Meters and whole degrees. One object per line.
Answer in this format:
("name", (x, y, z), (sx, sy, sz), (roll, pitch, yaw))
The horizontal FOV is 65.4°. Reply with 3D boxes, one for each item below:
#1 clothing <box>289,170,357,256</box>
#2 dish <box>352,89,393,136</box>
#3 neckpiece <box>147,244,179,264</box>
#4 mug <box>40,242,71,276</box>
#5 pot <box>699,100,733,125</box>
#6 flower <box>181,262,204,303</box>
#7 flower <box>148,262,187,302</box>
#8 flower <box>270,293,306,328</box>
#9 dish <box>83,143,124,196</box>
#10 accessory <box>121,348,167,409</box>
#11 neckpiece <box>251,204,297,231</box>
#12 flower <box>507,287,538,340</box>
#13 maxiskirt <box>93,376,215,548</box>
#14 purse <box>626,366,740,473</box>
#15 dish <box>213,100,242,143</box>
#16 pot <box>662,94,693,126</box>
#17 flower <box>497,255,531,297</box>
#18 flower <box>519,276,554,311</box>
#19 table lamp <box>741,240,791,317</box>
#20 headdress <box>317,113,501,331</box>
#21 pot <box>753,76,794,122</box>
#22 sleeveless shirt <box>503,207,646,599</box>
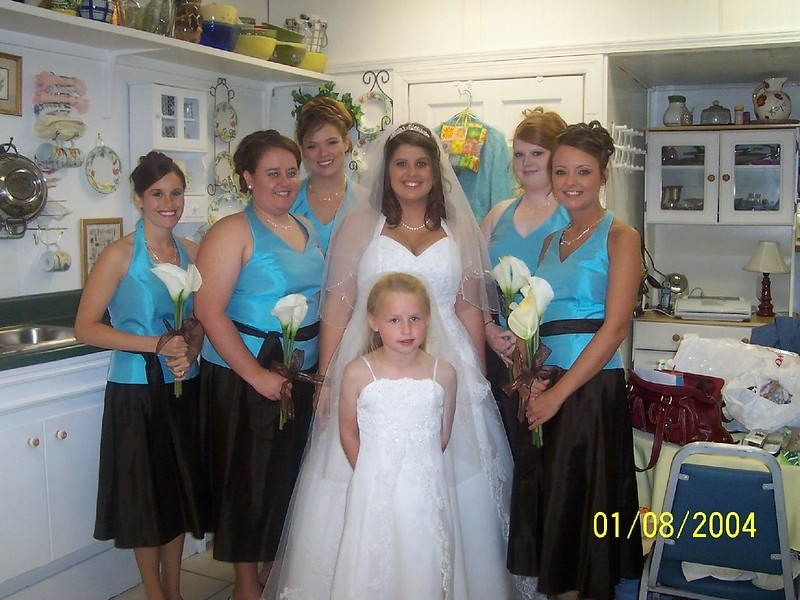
("clothing", (-0.331, -0.359, 2.615), (0.388, 0.401, 0.220), (2, -9, -5))
("dish", (-0.169, -1.263, 4.192), (0.288, 0.310, 0.040), (14, 6, 23))
("neckpiece", (-0.884, -0.183, 2.347), (0.010, 0.076, 0.121), (-18, -8, 33))
("mug", (-1.695, -0.210, 3.057), (0.089, 0.134, 0.124), (8, 11, 41))
("pot", (2.347, -1.400, 4.634), (0.203, 0.222, 0.223), (-1, -4, 30))
("flower", (-0.710, -0.072, 2.177), (0.042, 0.082, 0.093), (17, 17, -2))
("flower", (-0.793, -0.063, 2.149), (0.104, 0.127, 0.055), (0, 9, -9))
("flower", (-0.390, 0.038, 2.205), (0.083, 0.136, 0.134), (-2, -1, 3))
("dish", (-1.541, -0.689, 3.228), (0.036, 0.225, 0.180), (3, 8, 28))
("accessory", (-0.912, 0.303, 2.303), (0.087, 0.218, 0.042), (-3, 9, -23))
("neckpiece", (-0.478, -0.330, 2.387), (0.111, 0.028, 0.092), (34, 13, 24))
("flower", (0.410, 0.050, 2.091), (0.099, 0.183, 0.156), (-6, 15, -3))
("maxiskirt", (-0.937, 0.609, 2.331), (0.398, 0.605, 0.209), (-4, 10, -29))
("purse", (1.068, 0.406, 2.493), (0.403, 0.364, 0.432), (1, -2, -26))
("dish", (-1.113, -1.133, 3.935), (0.048, 0.221, 0.212), (7, -2, 27))
("pot", (2.060, -1.417, 4.633), (0.218, 0.244, 0.239), (0, -4, 0))
("flower", (0.397, -0.086, 2.217), (0.125, 0.138, 0.133), (-6, 19, -22))
("flower", (0.452, -0.025, 2.099), (0.103, 0.107, 0.051), (-22, 12, -33))
("table lamp", (2.723, -0.167, 4.655), (0.276, 0.542, 0.419), (6, 10, 31))
("headdress", (-0.090, -0.228, 2.501), (0.780, 0.881, 0.586), (-1, 0, -14))
("pot", (2.617, -1.415, 4.387), (0.231, 0.315, 0.129), (5, 9, 26))
("sleeveless shirt", (0.631, 0.350, 2.196), (0.484, 1.304, 0.365), (2, 9, 10))
